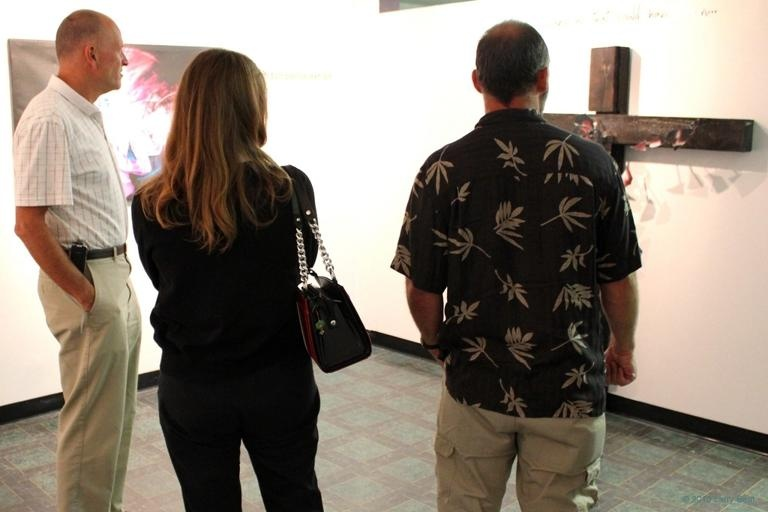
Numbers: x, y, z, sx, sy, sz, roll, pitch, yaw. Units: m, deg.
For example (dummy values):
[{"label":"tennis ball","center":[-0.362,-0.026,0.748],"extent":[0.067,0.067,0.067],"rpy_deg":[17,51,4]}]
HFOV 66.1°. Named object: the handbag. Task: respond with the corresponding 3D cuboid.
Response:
[{"label":"handbag","center":[-0.219,0.256,2.214],"extent":[0.253,0.375,0.120],"rpy_deg":[-24,13,-28]}]
